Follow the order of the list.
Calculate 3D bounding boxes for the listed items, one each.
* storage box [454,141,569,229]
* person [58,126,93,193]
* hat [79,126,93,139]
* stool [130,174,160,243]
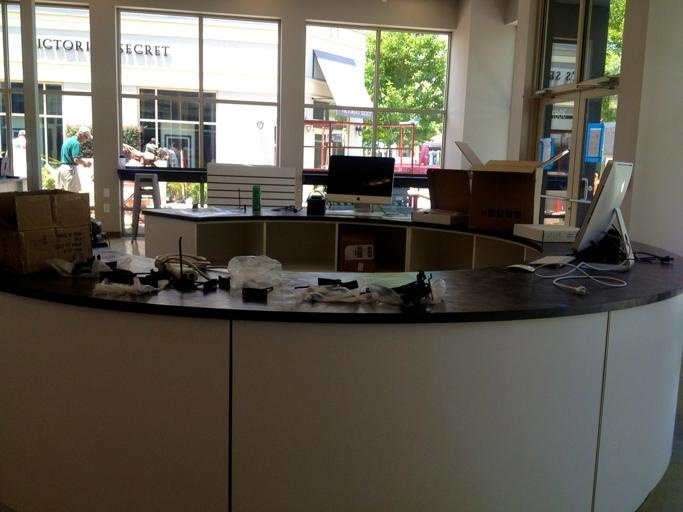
[{"bbox_3d":[1.269,-0.554,4.598,0.662,0.507,0.576,-1,8,4],"label":"storage box"},{"bbox_3d":[-4.095,-1.499,9.307,0.672,0.964,0.160,1,11,13],"label":"person"},{"bbox_3d":[-3.872,-1.891,9.266,0.228,0.143,0.175,11,7,13],"label":"hat"},{"bbox_3d":[-2.910,-0.732,8.963,0.433,1.004,0.749,-5,11,-18],"label":"stool"}]
